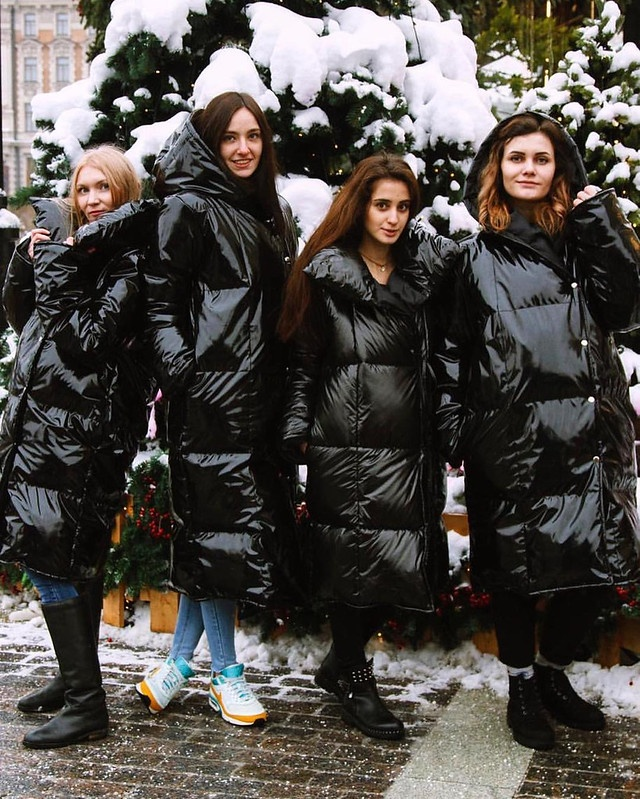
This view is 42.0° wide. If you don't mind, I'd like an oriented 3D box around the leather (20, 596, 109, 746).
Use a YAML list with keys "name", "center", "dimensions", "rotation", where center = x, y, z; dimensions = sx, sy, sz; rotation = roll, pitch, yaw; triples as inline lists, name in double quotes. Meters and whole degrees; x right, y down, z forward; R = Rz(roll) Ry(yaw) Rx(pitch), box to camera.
- name: "leather"
  center: [-0.926, 0.954, 2.904]
  dimensions: [0.209, 0.491, 0.359]
  rotation: [-31, -28, 34]

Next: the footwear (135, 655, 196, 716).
- name: "footwear"
  center: [-0.581, 1.072, 3.143]
  dimensions: [0.143, 0.098, 0.302]
  rotation: [-33, -4, -5]

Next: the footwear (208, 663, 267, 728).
- name: "footwear"
  center: [-0.318, 1.084, 3.073]
  dimensions: [0.128, 0.138, 0.304]
  rotation: [-5, 3, -27]

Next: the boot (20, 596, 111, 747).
- name: "boot"
  center: [-0.933, 0.957, 2.902]
  dimensions: [0.210, 0.503, 0.360]
  rotation: [-33, -27, 32]

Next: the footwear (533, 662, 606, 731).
- name: "footwear"
  center: [0.881, 1.050, 3.012]
  dimensions: [0.125, 0.174, 0.326]
  rotation: [-23, 16, -37]

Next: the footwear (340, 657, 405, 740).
- name: "footwear"
  center: [0.189, 1.074, 2.994]
  dimensions: [0.145, 0.227, 0.343]
  rotation: [-4, -1, -27]

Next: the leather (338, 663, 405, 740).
- name: "leather"
  center: [0.190, 1.074, 2.988]
  dimensions: [0.141, 0.216, 0.341]
  rotation: [-5, 2, -25]

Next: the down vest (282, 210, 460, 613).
- name: "down vest"
  center: [0.179, 0.045, 2.924]
  dimensions: [0.616, 1.330, 0.251]
  rotation: [-1, 1, 7]
